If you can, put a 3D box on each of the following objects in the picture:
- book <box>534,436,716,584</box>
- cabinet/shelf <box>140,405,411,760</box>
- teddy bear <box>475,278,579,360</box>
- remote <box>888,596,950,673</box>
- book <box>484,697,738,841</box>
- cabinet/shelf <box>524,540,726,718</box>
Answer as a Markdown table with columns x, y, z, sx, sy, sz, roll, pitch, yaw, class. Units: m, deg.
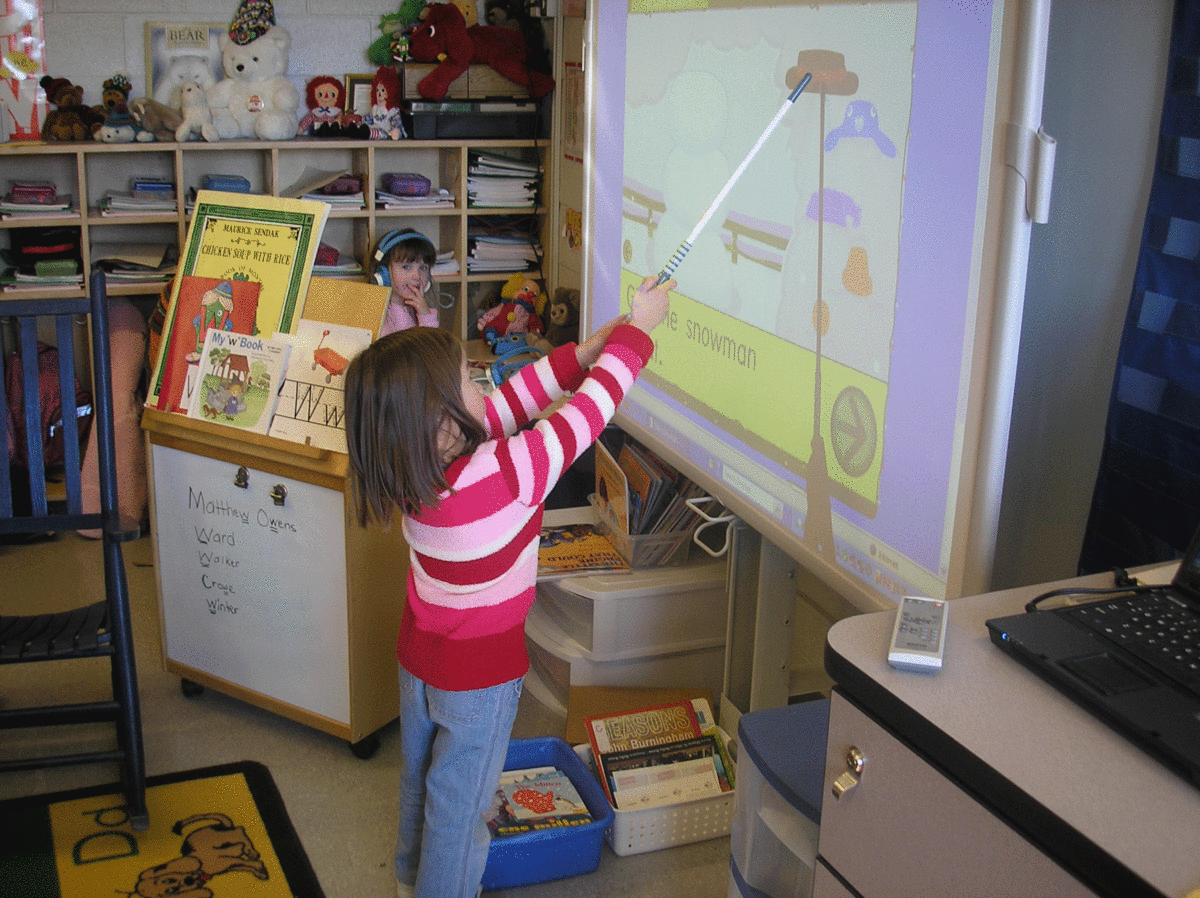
| x | y | z | sx | sy | sz | roll | pitch | yaw | class |
| --- | --- | --- | --- | --- | --- | --- | --- | --- | --- |
| 0.063 | 0.193 | 2.746 | 0.433 | 0.168 | 0.343 | -8 | 26 | -20 | book |
| -0.836 | 0.343 | 2.466 | 0.642 | 0.922 | 0.539 | 10 | 15 | 27 | cabinet/shelf |
| -0.344 | -0.618 | 4.466 | 0.328 | 0.220 | 0.498 | 5 | 29 | 9 | teddy bear |
| 0.408 | 0.237 | 1.201 | 0.062 | 0.028 | 0.140 | 3 | 24 | 25 | remote |
| 0.060 | 0.803 | 2.316 | 0.447 | 0.166 | 0.312 | -6 | 26 | -10 | book |
| 0.083 | 0.450 | 2.779 | 0.424 | 0.369 | 0.446 | -4 | 12 | -21 | cabinet/shelf |
